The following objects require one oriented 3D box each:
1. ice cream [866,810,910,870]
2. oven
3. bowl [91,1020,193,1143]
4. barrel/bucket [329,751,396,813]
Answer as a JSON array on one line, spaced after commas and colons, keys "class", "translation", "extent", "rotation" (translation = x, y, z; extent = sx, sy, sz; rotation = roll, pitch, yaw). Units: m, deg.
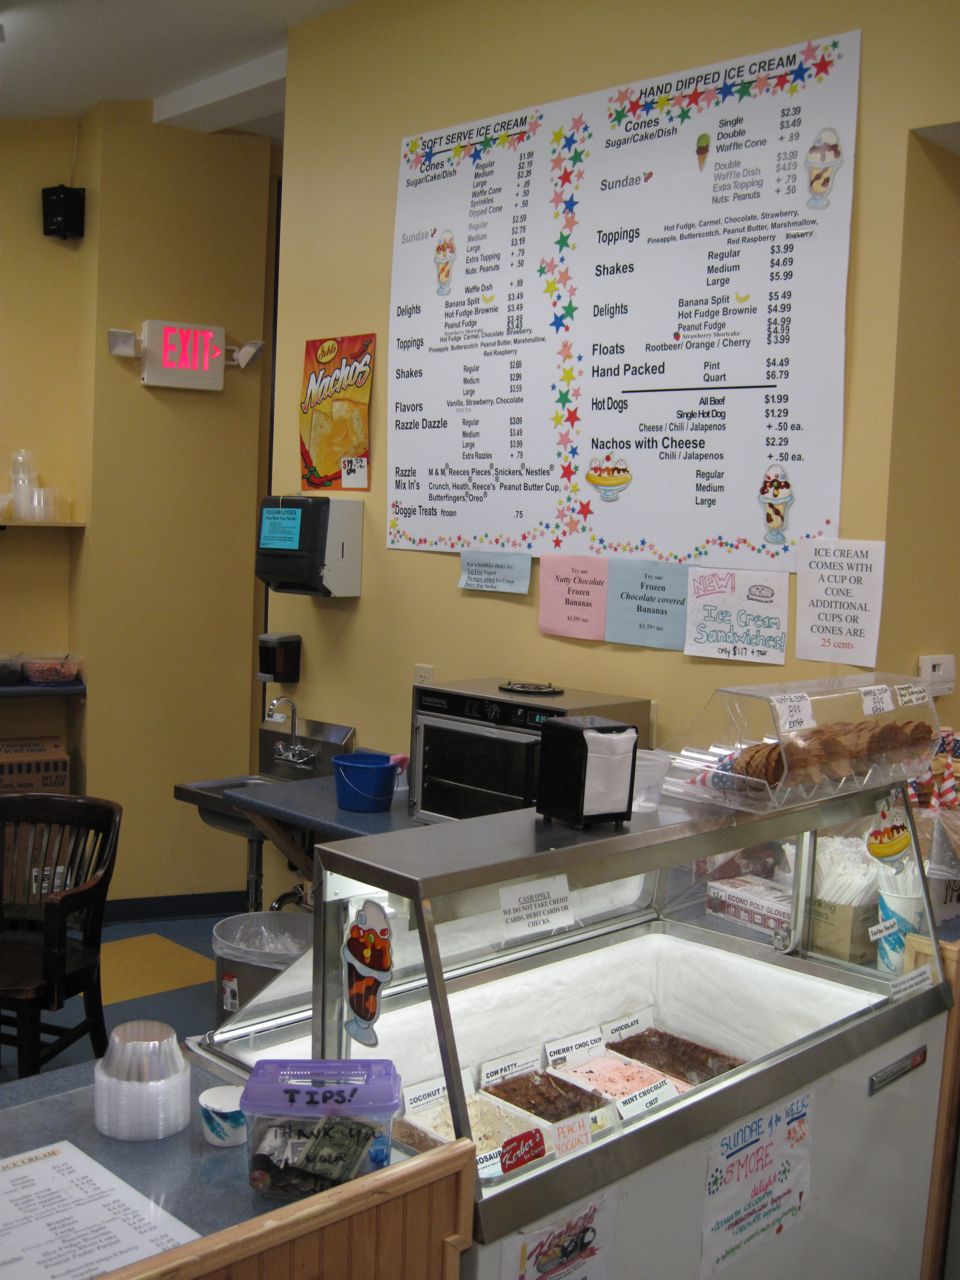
[{"class": "ice cream", "translation": [0.737, 0.363, 1.836], "extent": [0.092, 0.041, 0.101], "rotation": [-6, 13, 10]}, {"class": "oven", "translation": [0.139, 0.159, 2.918], "extent": [0.417, 0.447, 0.687], "rotation": [0, 3, -39]}, {"class": "bowl", "translation": [-0.379, 0.503, 1.177], "extent": [0.125, 0.116, 0.112], "rotation": [1, 1, -14]}, {"class": "barrel/bucket", "translation": [-0.341, 0.419, 3.020], "extent": [0.161, 0.139, 0.193], "rotation": [6, 6, 38]}]
